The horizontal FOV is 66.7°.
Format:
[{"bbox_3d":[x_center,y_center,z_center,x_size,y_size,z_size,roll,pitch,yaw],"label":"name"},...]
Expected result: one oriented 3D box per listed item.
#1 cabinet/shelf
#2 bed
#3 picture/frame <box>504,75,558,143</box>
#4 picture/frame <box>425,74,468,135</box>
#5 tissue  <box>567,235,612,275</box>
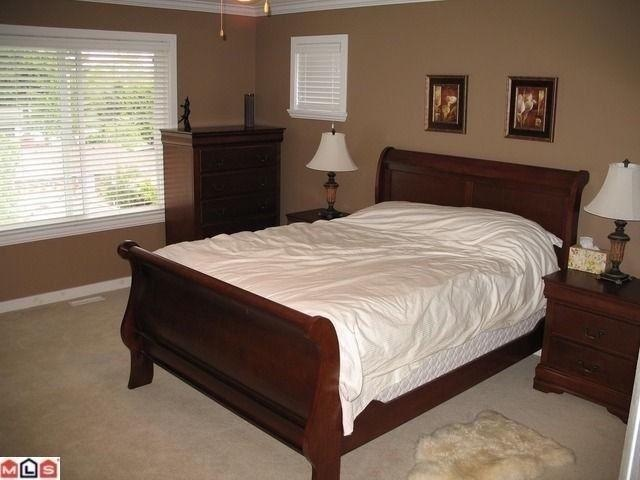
[{"bbox_3d":[-1.152,-0.617,5.459,1.001,1.392,0.597,-13,20,-41],"label":"cabinet/shelf"},{"bbox_3d":[0.405,0.279,3.980,3.272,1.935,2.145,-13,20,-43],"label":"bed"},{"bbox_3d":[1.855,-1.144,4.220,0.046,0.664,0.473,-15,22,-43],"label":"picture/frame"},{"bbox_3d":[1.250,-1.325,4.717,0.047,0.672,0.492,-11,16,-41],"label":"picture/frame"},{"bbox_3d":[2.111,0.118,3.883,0.234,0.349,0.324,-10,13,-41],"label":"tissue "}]
